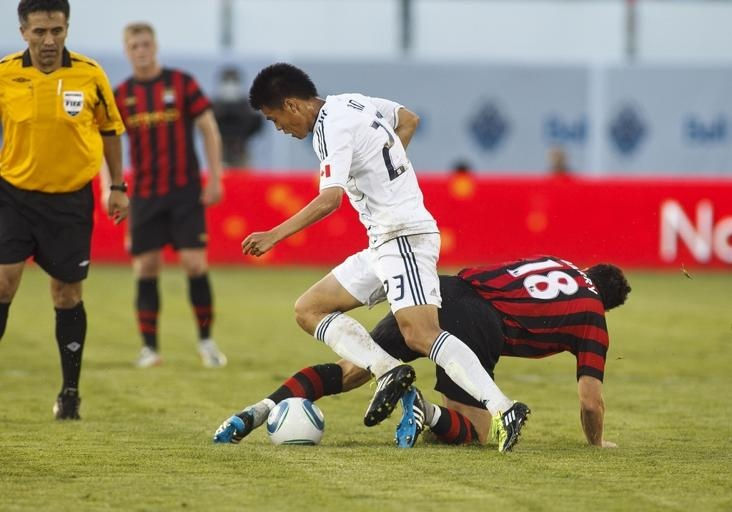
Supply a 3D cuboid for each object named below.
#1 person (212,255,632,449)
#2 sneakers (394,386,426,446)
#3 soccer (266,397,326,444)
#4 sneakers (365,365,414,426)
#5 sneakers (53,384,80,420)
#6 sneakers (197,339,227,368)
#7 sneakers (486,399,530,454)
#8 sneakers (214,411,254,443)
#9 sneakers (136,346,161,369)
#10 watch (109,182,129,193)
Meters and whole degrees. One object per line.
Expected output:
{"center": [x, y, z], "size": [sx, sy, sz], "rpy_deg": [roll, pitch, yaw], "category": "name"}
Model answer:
{"center": [0.754, 0.582, 8.867], "size": [2.336, 0.808, 1.584], "rpy_deg": [-11, 13, -24], "category": "person"}
{"center": [0.316, 1.184, 8.773], "size": [0.237, 0.444, 0.182], "rpy_deg": [13, 1, -44], "category": "sneakers"}
{"center": [-0.516, 1.240, 8.810], "size": [0.348, 0.333, 0.350], "rpy_deg": [-11, -13, 8], "category": "soccer"}
{"center": [0.173, 1.008, 8.729], "size": [0.155, 0.472, 0.243], "rpy_deg": [46, -14, -33], "category": "sneakers"}
{"center": [-2.300, 1.145, 9.276], "size": [0.147, 0.217, 0.291], "rpy_deg": [16, 42, -26], "category": "sneakers"}
{"center": [-1.425, 0.906, 11.072], "size": [0.310, 0.173, 0.122], "rpy_deg": [59, -4, 31], "category": "sneakers"}
{"center": [1.018, 1.209, 8.584], "size": [0.268, 0.482, 0.163], "rpy_deg": [10, 40, 2], "category": "sneakers"}
{"center": [-0.947, 1.256, 8.775], "size": [0.122, 0.272, 0.203], "rpy_deg": [53, 7, 35], "category": "sneakers"}
{"center": [-1.993, 0.915, 10.943], "size": [0.209, 0.161, 0.257], "rpy_deg": [2, 10, 1], "category": "sneakers"}
{"center": [-1.913, -0.536, 9.355], "size": [0.108, 0.056, 0.077], "rpy_deg": [0, 7, -10], "category": "watch"}
